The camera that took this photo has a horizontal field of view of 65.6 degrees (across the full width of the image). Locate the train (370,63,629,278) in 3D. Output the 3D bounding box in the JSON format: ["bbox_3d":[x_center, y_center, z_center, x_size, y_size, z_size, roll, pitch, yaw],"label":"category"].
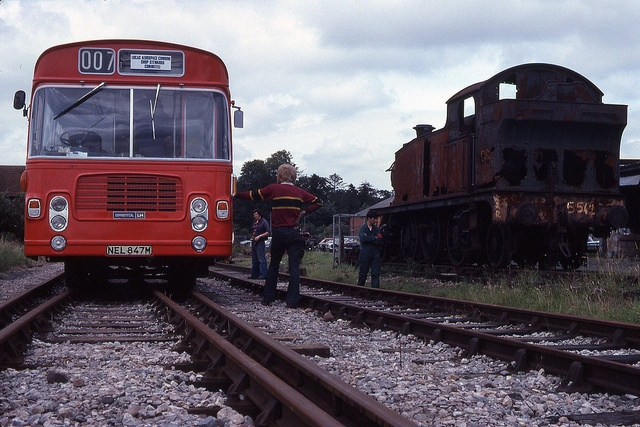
[{"bbox_3d":[4.839,-1.250,17.167,4.413,6.086,9.737,0,-1,-36],"label":"train"}]

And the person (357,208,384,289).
[{"bbox_3d":[1.211,0.883,12.066,0.591,1.850,1.196,-1,-1,6],"label":"person"}]
